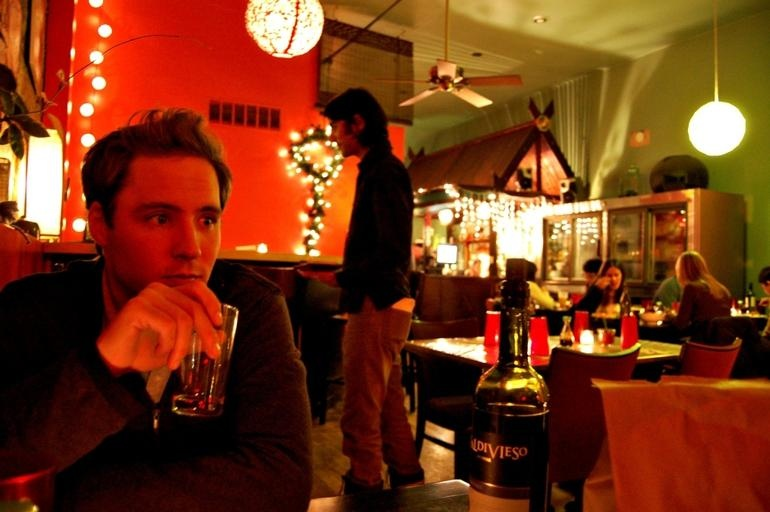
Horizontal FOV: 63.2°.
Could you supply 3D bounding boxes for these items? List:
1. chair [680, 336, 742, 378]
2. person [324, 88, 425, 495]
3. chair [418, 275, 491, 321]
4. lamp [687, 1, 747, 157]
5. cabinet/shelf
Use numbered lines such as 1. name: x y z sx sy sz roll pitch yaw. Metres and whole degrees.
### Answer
1. chair: 1.755 0.561 3.358 0.429 0.198 0.166 1 1 -39
2. person: -0.049 0.174 3.308 0.561 2.208 0.529 1 1 -6
3. chair: 0.961 0.571 8.696 1.178 0.823 0.629 1 -7 -9
4. lamp: 4.129 -2.204 7.656 0.638 1.742 2.516 2 1 27
5. cabinet/shelf: 3.461 -0.132 8.311 0.555 1.030 1.774 2 -3 -25
